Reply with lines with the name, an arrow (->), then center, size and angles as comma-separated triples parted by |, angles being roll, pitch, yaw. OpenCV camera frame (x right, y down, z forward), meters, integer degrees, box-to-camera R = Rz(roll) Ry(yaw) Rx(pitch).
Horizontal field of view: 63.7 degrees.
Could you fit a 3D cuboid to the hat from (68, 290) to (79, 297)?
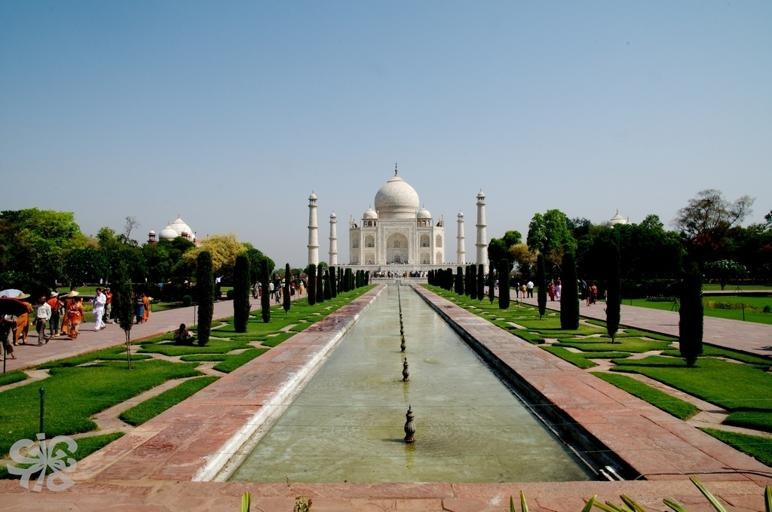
hat -> -8.141, 1.000, 16.250 | 0.313, 0.064, 0.276 | -2, 6, -3
